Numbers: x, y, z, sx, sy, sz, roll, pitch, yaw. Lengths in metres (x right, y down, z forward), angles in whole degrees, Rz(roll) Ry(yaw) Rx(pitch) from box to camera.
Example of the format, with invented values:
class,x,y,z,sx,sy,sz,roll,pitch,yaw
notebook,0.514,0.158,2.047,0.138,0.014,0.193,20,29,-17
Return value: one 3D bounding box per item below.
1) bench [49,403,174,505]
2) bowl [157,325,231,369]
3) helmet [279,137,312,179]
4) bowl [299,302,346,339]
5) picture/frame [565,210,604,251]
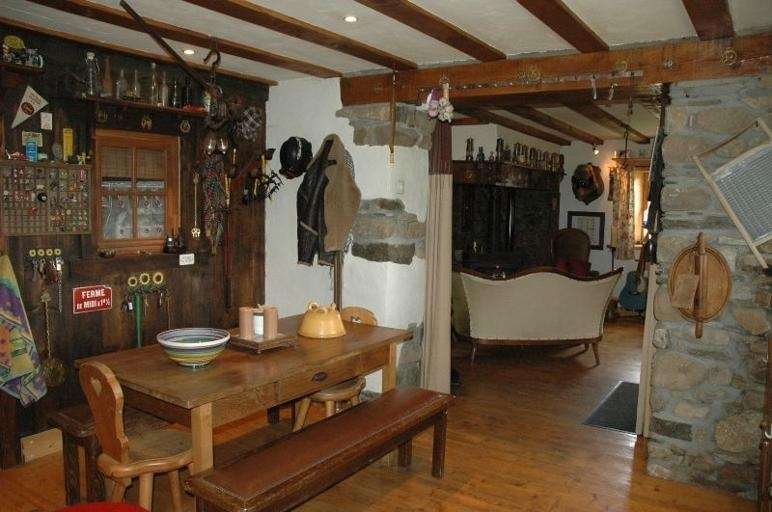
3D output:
class,x,y,z,sx,sy,sz,roll,pitch,yaw
bench,-1.965,1.407,4.371,0.765,0.705,0.766,5,7,33
bowl,-1.272,0.597,3.895,0.327,0.132,0.322,1,8,0
helmet,-0.861,-0.958,5.711,0.309,0.389,0.403,1,6,18
bowl,-0.510,0.482,4.587,0.379,0.237,0.386,1,9,0
picture/frame,3.433,-0.428,9.832,0.747,0.765,0.057,3,5,43
